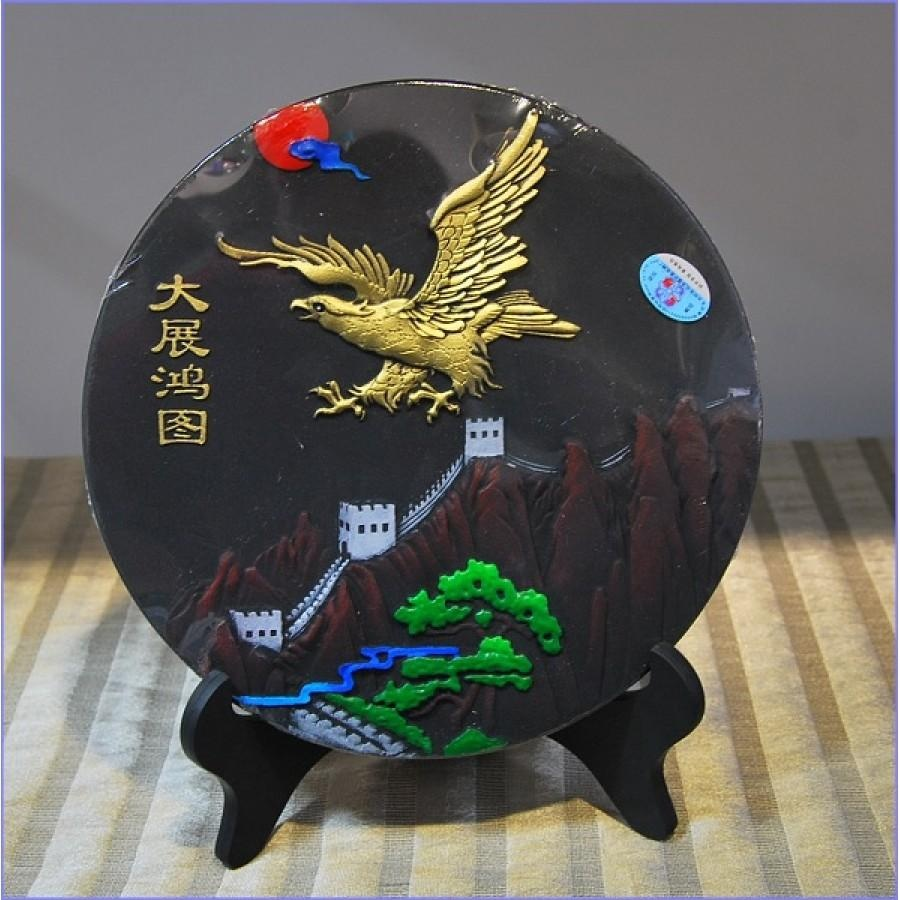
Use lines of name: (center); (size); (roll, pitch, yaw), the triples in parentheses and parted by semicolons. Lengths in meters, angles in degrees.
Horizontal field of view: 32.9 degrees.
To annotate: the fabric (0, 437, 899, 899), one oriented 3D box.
fabric: (0.220, 0.819, 4.373); (1.982, 0.378, 1.101); (-1, 54, 2)
